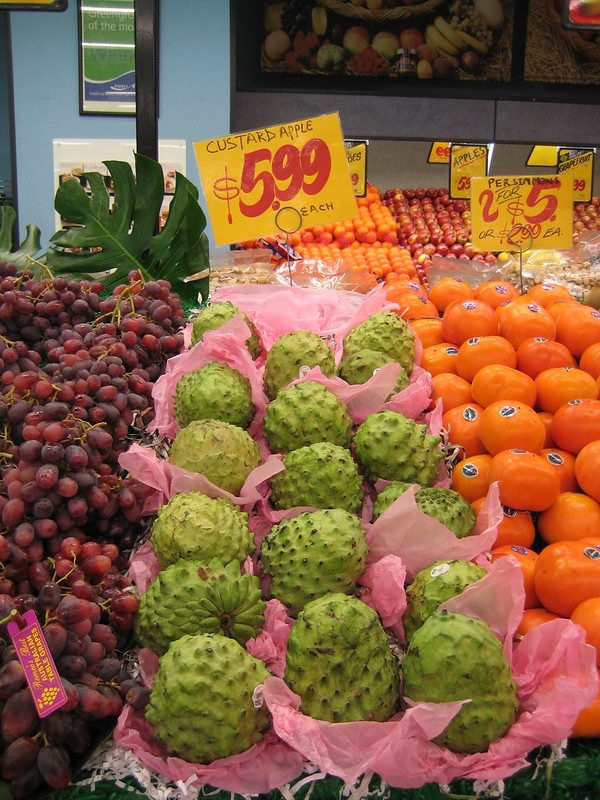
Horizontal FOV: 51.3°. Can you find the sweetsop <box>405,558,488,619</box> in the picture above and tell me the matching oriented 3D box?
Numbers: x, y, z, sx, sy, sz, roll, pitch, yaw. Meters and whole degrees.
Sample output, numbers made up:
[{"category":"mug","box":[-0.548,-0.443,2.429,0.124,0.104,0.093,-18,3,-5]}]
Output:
[{"category":"sweetsop","box":[0.253,0.330,1.072,0.137,0.091,0.124,5,16,9]}]

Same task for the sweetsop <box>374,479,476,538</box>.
[{"category":"sweetsop","box":[0.259,0.202,1.242,0.140,0.082,0.132,-6,18,-36]}]

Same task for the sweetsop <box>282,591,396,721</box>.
[{"category":"sweetsop","box":[0.049,0.376,1.012,0.170,0.197,0.177,-10,-5,32]}]

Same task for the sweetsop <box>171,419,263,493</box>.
[{"category":"sweetsop","box":[-0.158,0.106,1.277,0.167,0.138,0.139,7,37,2]}]

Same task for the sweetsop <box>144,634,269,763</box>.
[{"category":"sweetsop","box":[-0.127,0.418,0.959,0.171,0.170,0.165,2,9,3]}]

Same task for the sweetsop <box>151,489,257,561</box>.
[{"category":"sweetsop","box":[-0.169,0.232,1.111,0.146,0.123,0.128,5,2,2]}]

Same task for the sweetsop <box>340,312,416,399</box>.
[{"category":"sweetsop","box":[0.197,-0.129,1.584,0.185,0.166,0.265,5,16,9]}]

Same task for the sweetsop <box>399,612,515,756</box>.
[{"category":"sweetsop","box":[0.192,0.429,0.955,0.172,0.207,0.172,-10,-24,10]}]

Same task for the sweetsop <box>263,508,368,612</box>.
[{"category":"sweetsop","box":[0.032,0.270,1.131,0.181,0.147,0.149,-21,46,-35]}]

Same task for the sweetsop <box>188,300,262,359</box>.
[{"category":"sweetsop","box":[-0.185,-0.171,1.614,0.191,0.144,0.214,-1,16,-10]}]

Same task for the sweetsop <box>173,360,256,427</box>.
[{"category":"sweetsop","box":[-0.192,-0.003,1.408,0.164,0.156,0.155,0,-6,-7]}]

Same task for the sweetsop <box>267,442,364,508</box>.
[{"category":"sweetsop","box":[0.001,0.162,1.254,0.143,0.119,0.123,-6,-14,-44]}]

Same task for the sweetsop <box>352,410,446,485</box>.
[{"category":"sweetsop","box":[0.207,0.103,1.388,0.178,0.144,0.150,28,0,23]}]

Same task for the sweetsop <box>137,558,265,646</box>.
[{"category":"sweetsop","box":[-0.171,0.327,1.073,0.171,0.143,0.163,-21,-3,-44]}]
